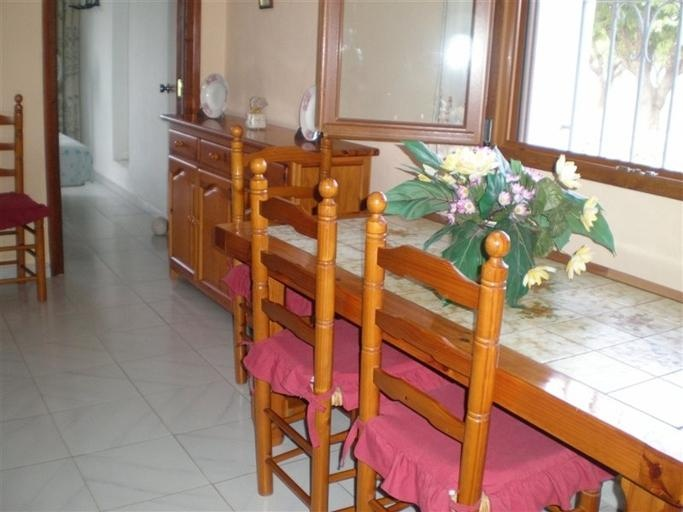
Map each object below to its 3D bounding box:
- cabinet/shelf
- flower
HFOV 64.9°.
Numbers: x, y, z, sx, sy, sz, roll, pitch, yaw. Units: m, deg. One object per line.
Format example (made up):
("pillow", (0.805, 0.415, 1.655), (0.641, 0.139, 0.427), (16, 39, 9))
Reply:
("cabinet/shelf", (-0.357, -0.239, 2.656), (0.426, 0.905, 1.192), (-6, 21, -33))
("flower", (0.425, -0.199, 1.728), (0.635, 0.208, 0.557), (10, 20, -43))
